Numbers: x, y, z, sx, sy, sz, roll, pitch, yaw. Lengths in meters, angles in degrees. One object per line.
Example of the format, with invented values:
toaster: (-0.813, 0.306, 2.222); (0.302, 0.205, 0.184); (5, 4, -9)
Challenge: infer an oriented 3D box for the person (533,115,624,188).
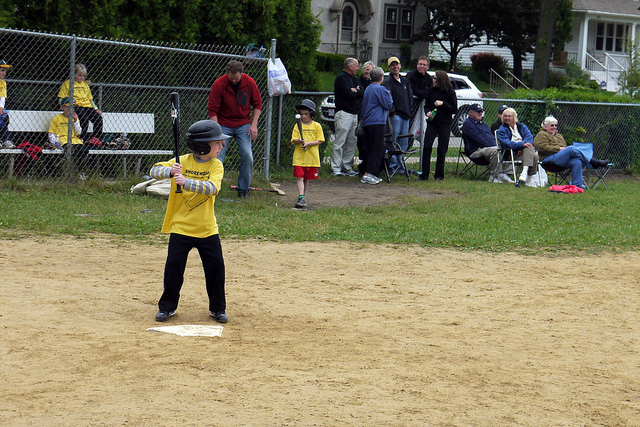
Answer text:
person: (5.317, -1.342, 20.664); (1.570, 1.488, 0.719); (0, -3, 31)

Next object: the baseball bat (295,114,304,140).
baseball bat: (-0.339, -1.517, 17.406); (0.110, 0.462, 0.070); (-11, -11, -15)

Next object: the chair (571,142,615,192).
chair: (5.828, -0.964, 20.749); (0.571, 0.707, 0.452); (11, -11, 31)

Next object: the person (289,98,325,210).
person: (-0.240, -1.062, 17.793); (0.573, 1.956, 1.075); (4, 4, -2)

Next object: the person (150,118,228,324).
person: (-1.612, 0.106, 12.648); (0.996, 2.591, 0.556); (3, 4, -5)

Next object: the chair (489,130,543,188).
chair: (4.154, -1.173, 20.892); (0.846, 1.161, 0.896); (-10, 15, -41)
